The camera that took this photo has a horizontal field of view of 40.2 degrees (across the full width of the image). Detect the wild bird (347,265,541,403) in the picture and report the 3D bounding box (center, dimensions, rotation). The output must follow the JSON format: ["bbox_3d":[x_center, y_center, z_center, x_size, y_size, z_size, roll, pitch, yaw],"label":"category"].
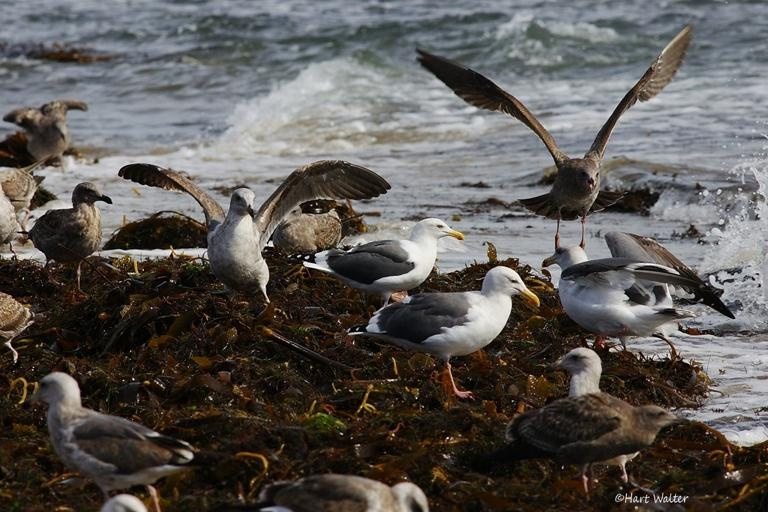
[{"bbox_3d":[0.740,0.793,12.822,1.430,1.404,1.122,19,28,28],"label":"wild bird"}]

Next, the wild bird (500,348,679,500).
[{"bbox_3d":[2.212,1.974,11.566,1.167,1.185,1.112,25,32,38],"label":"wild bird"}]
